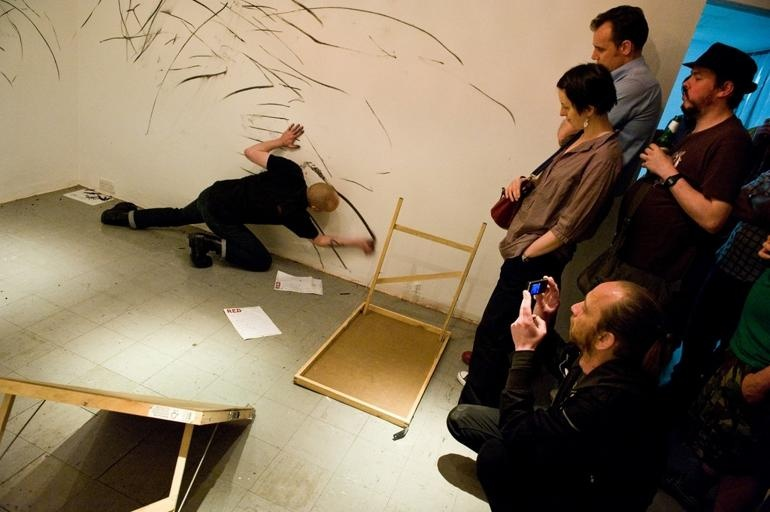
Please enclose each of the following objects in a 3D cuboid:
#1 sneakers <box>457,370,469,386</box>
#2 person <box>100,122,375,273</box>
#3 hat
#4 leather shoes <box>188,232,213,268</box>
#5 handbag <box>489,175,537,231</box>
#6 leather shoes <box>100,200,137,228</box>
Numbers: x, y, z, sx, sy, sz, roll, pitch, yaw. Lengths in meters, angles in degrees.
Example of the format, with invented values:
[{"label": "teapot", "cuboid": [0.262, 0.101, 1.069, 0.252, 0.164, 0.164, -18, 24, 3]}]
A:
[{"label": "sneakers", "cuboid": [0.576, 0.905, 3.838, 0.062, 0.049, 0.120, -1, 26, -2]}, {"label": "person", "cuboid": [-1.129, -0.394, 4.600, 2.227, 0.889, 1.086, -1, 49, -18]}, {"label": "hat", "cuboid": [1.986, -1.097, 3.078, 0.338, 0.122, 0.281, 30, 24, 3]}, {"label": "leather shoes", "cuboid": [-1.561, -0.061, 4.450, 0.191, 0.261, 0.267, 0, 27, -20]}, {"label": "handbag", "cuboid": [0.861, -0.362, 3.586, 0.222, 0.389, 0.108, 45, 32, 20]}, {"label": "leather shoes", "cuboid": [-2.373, -0.428, 4.707, 0.276, 0.089, 0.265, 17, 41, 18]}]
